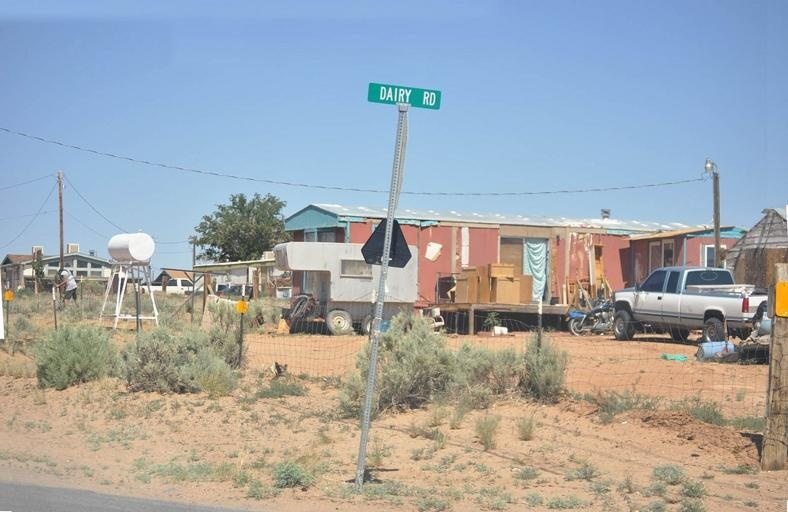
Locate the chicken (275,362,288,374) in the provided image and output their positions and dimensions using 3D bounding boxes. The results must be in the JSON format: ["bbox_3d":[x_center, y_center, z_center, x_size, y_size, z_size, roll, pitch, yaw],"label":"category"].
[{"bbox_3d":[-2.994,2.903,24.582,0.208,0.184,0.321,0,4,-15],"label":"chicken"}]

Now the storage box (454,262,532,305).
[{"bbox_3d":[3.474,1.068,33.060,1.678,1.253,1.849,0,1,-16],"label":"storage box"}]

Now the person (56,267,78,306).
[{"bbox_3d":[-13.062,1.217,37.571,0.767,1.627,0.630,-12,18,-40],"label":"person"}]

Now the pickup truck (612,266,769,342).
[{"bbox_3d":[8.965,1.390,28.293,2.078,1.611,3.552,0,3,-30],"label":"pickup truck"}]
